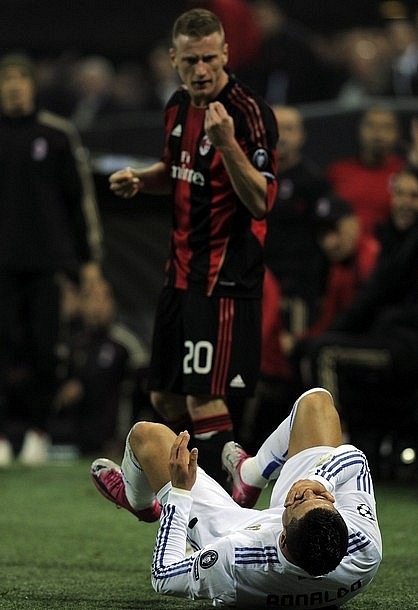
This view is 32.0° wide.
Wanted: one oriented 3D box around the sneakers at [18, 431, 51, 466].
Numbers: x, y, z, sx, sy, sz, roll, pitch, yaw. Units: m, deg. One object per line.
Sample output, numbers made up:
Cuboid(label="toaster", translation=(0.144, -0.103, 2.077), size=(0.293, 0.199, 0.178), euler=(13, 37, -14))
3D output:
Cuboid(label="sneakers", translation=(-1.297, 1.033, 5.283), size=(0.257, 0.251, 0.250), euler=(-5, -8, 27))

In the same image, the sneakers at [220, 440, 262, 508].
Cuboid(label="sneakers", translation=(0.093, 0.511, 2.290), size=(0.110, 0.214, 0.074), euler=(-14, 10, -2))
